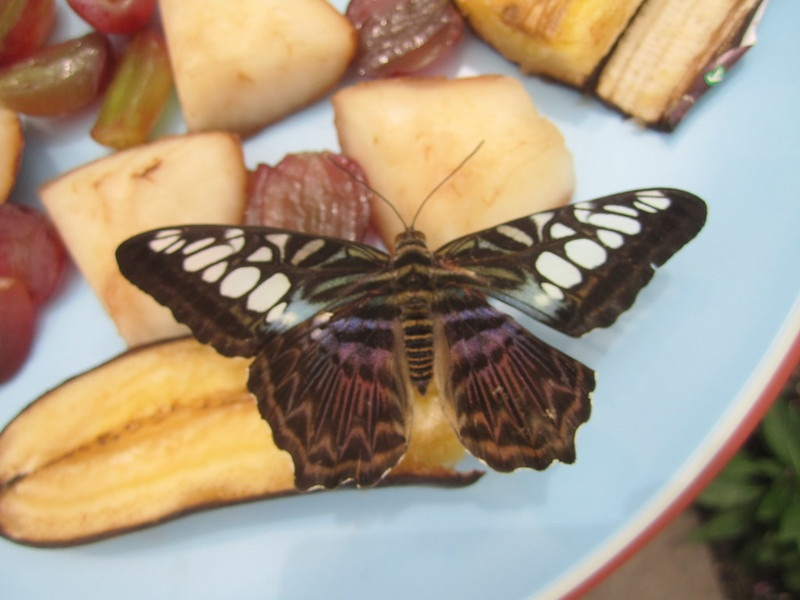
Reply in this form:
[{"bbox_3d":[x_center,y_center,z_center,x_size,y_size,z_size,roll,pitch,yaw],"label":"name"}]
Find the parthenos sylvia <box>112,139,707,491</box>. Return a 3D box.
[{"bbox_3d":[0.022,0.054,1.152,0.765,0.225,0.321,-3,64,-3],"label":"parthenos sylvia"}]
